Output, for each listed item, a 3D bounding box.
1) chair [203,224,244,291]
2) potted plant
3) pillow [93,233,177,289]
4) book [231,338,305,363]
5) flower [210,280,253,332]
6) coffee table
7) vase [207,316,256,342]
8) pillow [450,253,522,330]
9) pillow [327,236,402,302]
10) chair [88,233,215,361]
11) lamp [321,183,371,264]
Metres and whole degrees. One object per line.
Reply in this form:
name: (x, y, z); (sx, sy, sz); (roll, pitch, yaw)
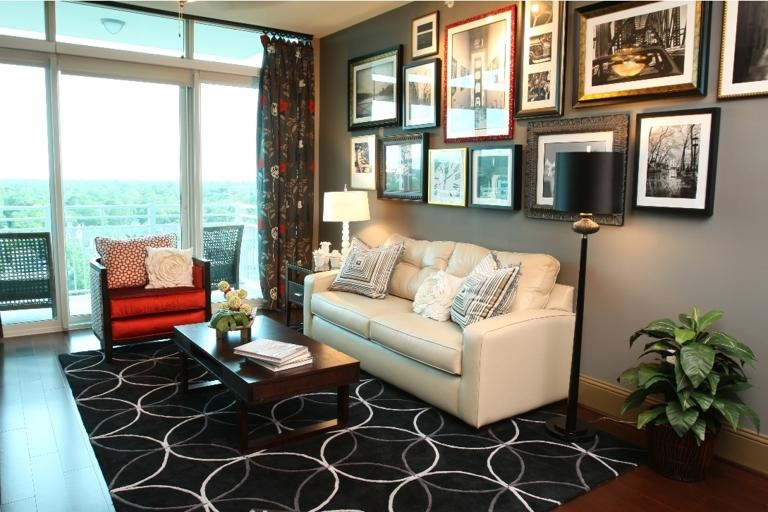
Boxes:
chair: (-2.093, 0.064, 6.920); (0.603, 0.800, 0.653); (-1, -10, -4)
potted plant: (2.102, 0.922, 3.717); (0.836, 1.104, 0.672); (4, 13, 23)
pillow: (-2.584, 0.070, 5.525); (0.549, 0.350, 0.186); (-7, -26, -35)
book: (-0.827, 0.686, 3.902); (0.300, 0.038, 0.222); (6, 9, 36)
flower: (-1.288, 0.424, 4.456); (0.320, 0.378, 0.375); (11, -1, -12)
coffee table: (-1.030, 0.963, 4.379); (0.996, 0.510, 1.577); (-3, 10, -33)
vase: (-1.221, 0.561, 4.314); (0.254, 0.121, 0.245); (-1, 3, -24)
pillow: (0.806, 0.314, 4.395); (0.173, 0.534, 0.549); (27, 3, -7)
pillow: (-0.186, 0.104, 5.341); (0.628, 0.599, 0.202); (10, -22, 38)
chair: (-2.562, 0.349, 5.597); (1.059, 1.040, 1.101); (10, 12, 36)
lamp: (-0.445, -0.406, 6.136); (0.559, 0.754, 0.531); (-2, 15, -3)
